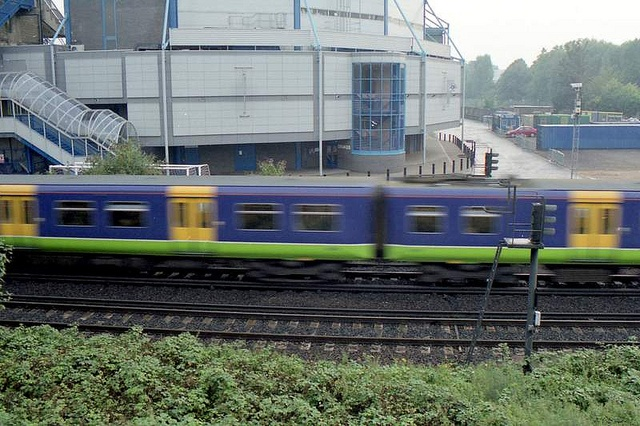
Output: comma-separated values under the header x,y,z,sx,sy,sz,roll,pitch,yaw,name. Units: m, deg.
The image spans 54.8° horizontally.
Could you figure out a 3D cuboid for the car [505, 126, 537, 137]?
x,y,z,sx,sy,sz,roll,pitch,yaw,name
26.154,-10.430,79.544,3.699,1.044,1.473,3,12,12,car
